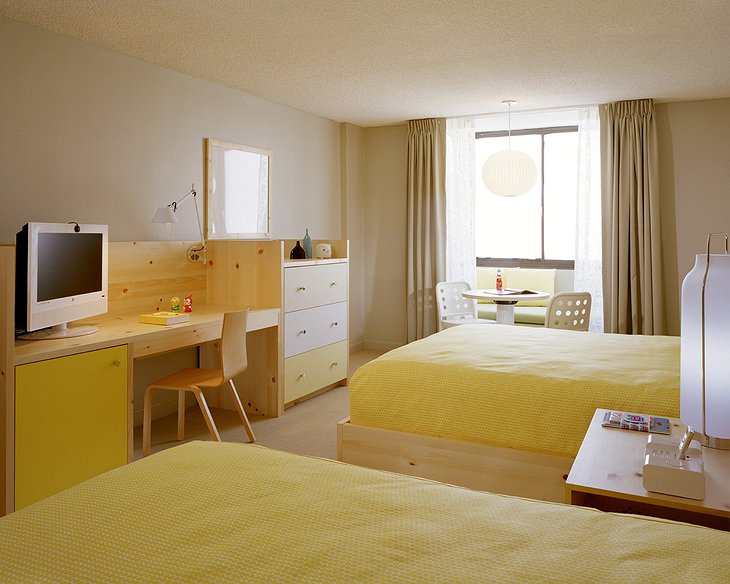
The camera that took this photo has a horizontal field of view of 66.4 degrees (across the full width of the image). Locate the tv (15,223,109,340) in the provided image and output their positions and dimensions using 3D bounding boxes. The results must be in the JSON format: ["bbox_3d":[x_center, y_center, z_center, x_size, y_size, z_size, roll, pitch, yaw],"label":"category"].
[{"bbox_3d":[-1.567,-0.061,2.862,0.302,0.568,0.595,1,1,10],"label":"tv"}]

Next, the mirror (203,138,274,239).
[{"bbox_3d":[-1.069,-0.856,4.740,0.053,0.782,0.822,5,8,30],"label":"mirror"}]
